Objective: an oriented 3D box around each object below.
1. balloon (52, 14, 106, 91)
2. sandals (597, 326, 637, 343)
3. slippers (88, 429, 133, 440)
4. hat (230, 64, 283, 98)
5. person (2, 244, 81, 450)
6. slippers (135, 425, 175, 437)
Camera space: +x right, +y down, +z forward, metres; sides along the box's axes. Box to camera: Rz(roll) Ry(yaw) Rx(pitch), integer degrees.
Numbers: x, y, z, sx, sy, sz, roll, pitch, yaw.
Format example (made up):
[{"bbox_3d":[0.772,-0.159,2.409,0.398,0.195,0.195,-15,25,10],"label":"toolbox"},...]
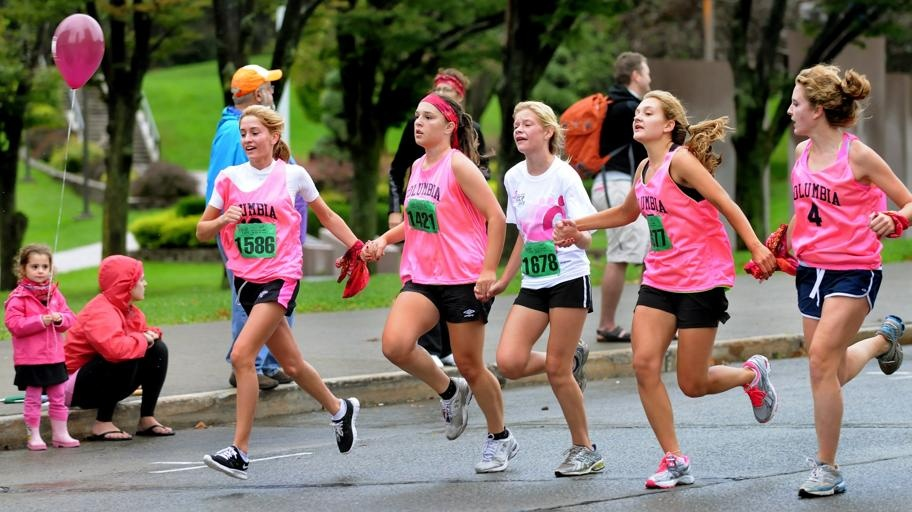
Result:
[{"bbox_3d":[-4.878,-2.673,16.131,0.770,1.025,0.732,0,-2,23],"label":"balloon"},{"bbox_3d":[2.300,1.134,17.500,0.537,0.192,0.186,-1,1,8],"label":"sandals"},{"bbox_3d":[-4.109,2.142,14.758,0.379,0.085,0.180,-3,-1,9],"label":"slippers"},{"bbox_3d":[-2.455,-2.252,15.267,0.688,0.260,0.423,-21,24,-24],"label":"hat"},{"bbox_3d":[-4.828,1.088,14.557,0.769,2.324,0.793,-7,16,-17],"label":"person"},{"bbox_3d":[-3.610,2.142,14.929,0.343,0.085,0.176,-2,-1,20],"label":"slippers"}]
